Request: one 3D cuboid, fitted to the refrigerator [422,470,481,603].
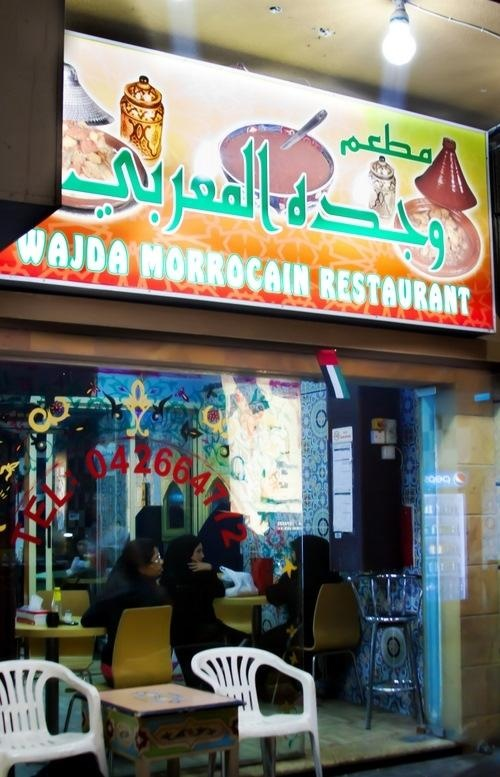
[{"bbox_3d":[1.364,1.032,4.957,0.317,0.892,0.157,-3,-7,17],"label":"refrigerator"}]

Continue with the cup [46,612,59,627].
[{"bbox_3d":[-0.974,1.135,3.471,0.063,0.081,0.065,2,-6,0],"label":"cup"}]

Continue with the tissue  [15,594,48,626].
[{"bbox_3d":[-1.062,1.077,3.452,0.139,0.091,0.140,9,-12,-42],"label":"tissue "}]
